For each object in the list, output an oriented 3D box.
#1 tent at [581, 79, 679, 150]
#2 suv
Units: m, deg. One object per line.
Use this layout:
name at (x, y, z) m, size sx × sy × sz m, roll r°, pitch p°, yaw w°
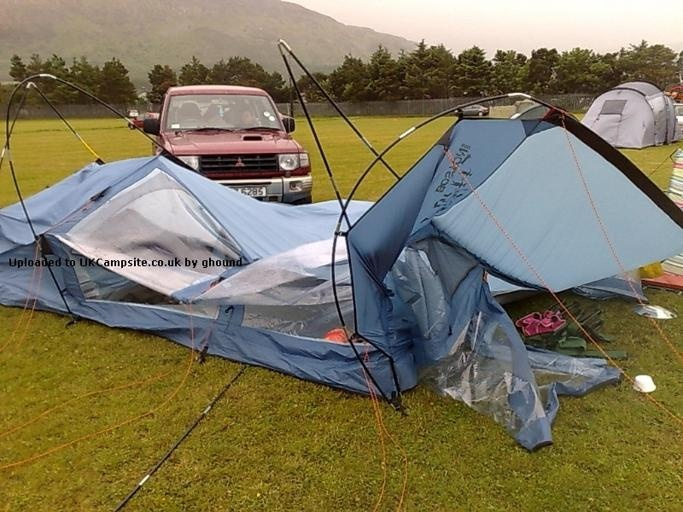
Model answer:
tent at (8.871, -4.199, 18.782) m, size 2.278 × 1.796 × 2.118 m, roll -6°, pitch 23°, yaw -12°
suv at (-1.721, -1.837, 9.754) m, size 1.875 × 1.125 × 2.765 m, roll -8°, pitch 19°, yaw -26°
